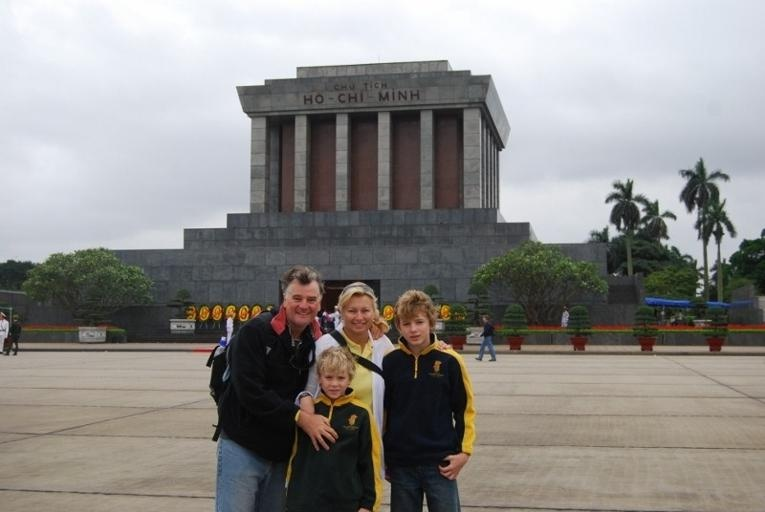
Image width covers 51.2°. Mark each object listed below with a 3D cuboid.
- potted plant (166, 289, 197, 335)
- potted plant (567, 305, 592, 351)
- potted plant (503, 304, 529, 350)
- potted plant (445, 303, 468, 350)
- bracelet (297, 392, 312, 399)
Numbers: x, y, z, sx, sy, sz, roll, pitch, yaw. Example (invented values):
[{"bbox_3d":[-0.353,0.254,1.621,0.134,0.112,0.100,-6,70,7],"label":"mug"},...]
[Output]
[{"bbox_3d":[-11.697,3.239,46.513,2.002,2.776,2.015,-8,-10,22],"label":"potted plant"},{"bbox_3d":[8.625,3.160,35.203,0.944,1.881,1.208,2,-1,13],"label":"potted plant"},{"bbox_3d":[6.064,3.269,36.516,1.422,2.089,1.407,2,-4,-23],"label":"potted plant"},{"bbox_3d":[3.462,3.263,37.127,1.138,2.017,1.229,-2,-5,36],"label":"potted plant"},{"bbox_3d":[-0.879,1.557,8.954,0.103,0.042,0.091,-17,-11,38],"label":"bracelet"}]
